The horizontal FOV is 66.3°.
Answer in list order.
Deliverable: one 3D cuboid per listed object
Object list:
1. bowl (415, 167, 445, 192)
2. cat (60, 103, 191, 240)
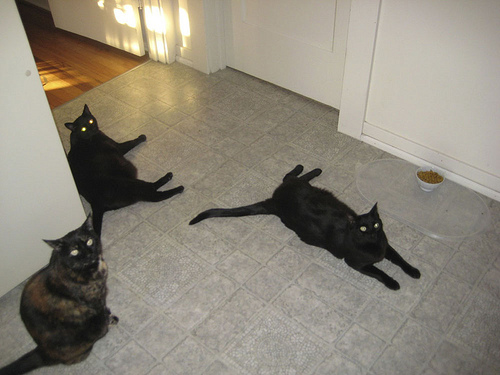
[{"bbox_3d":[1.321,-0.068,2.867,0.185,0.122,0.188,-1,43,1],"label":"bowl"},{"bbox_3d":[-0.986,-0.209,2.883,0.695,0.598,0.764,-29,48,-26],"label":"cat"}]
